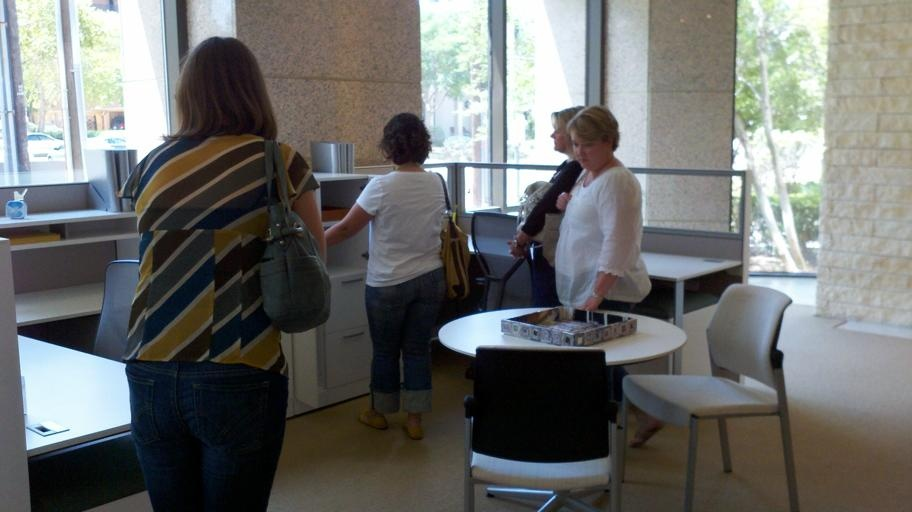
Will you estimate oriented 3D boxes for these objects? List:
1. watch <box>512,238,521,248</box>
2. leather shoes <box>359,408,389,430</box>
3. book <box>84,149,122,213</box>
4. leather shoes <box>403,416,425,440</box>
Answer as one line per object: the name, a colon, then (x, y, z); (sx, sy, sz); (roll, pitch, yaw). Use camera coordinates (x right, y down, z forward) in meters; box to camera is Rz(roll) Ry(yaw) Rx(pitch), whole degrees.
watch: (0.455, -0.097, 5.307); (0.066, 0.028, 0.083); (0, 14, 24)
leather shoes: (-0.651, 1.284, 5.517); (0.129, 0.089, 0.250); (-5, 12, -38)
book: (-2.655, -0.579, 5.301); (0.189, 0.444, 0.507); (-10, 18, -43)
leather shoes: (-0.339, 1.327, 5.442); (0.095, 0.167, 0.268); (1, -4, -15)
